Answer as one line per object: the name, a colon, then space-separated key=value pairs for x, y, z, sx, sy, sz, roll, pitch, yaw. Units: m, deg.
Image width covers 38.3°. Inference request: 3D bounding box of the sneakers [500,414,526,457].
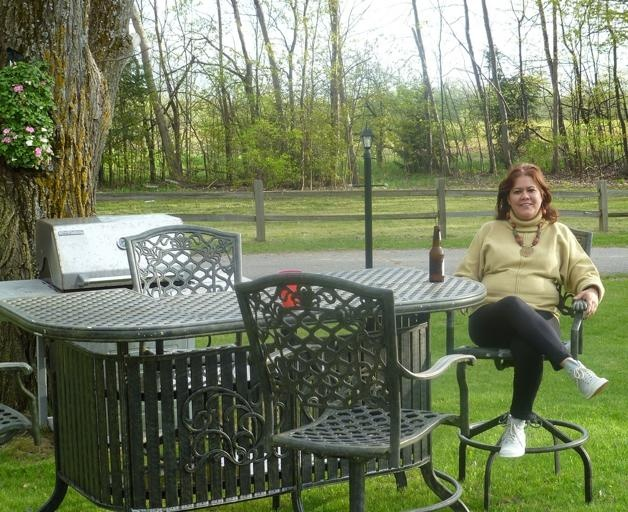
sneakers: x=1.197 y=1.104 z=5.520 sx=0.150 sy=0.257 sz=0.150 roll=-4 pitch=2 yaw=20
